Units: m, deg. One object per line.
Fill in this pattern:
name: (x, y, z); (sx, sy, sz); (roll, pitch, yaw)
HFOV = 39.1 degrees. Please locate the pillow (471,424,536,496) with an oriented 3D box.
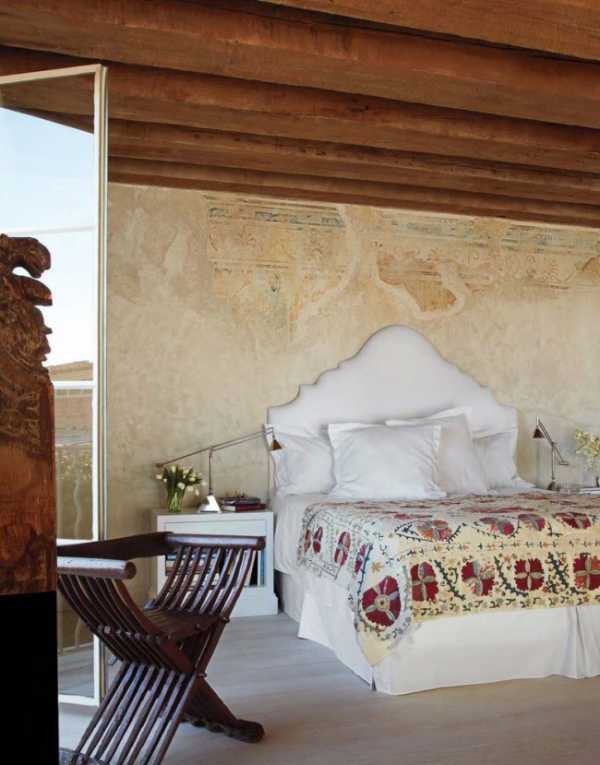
pillow: (1.216, 0.480, 5.113); (0.375, 0.348, 0.105); (-2, -26, -39)

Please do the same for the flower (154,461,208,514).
flower: (-0.657, 0.598, 4.704); (0.286, 0.246, 0.280); (2, -7, 25)

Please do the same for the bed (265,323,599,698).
bed: (0.721, 0.540, 4.252); (1.544, 1.265, 1.814); (-1, 4, -12)

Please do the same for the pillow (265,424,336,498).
pillow: (0.024, 0.464, 4.843); (0.412, 0.340, 0.109); (-3, -19, 4)

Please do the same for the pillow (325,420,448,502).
pillow: (0.453, 0.476, 4.565); (0.498, 0.399, 0.127); (1, -40, 5)

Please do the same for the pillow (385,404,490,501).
pillow: (0.824, 0.426, 4.931); (0.500, 0.443, 0.143); (-1, -26, -28)
